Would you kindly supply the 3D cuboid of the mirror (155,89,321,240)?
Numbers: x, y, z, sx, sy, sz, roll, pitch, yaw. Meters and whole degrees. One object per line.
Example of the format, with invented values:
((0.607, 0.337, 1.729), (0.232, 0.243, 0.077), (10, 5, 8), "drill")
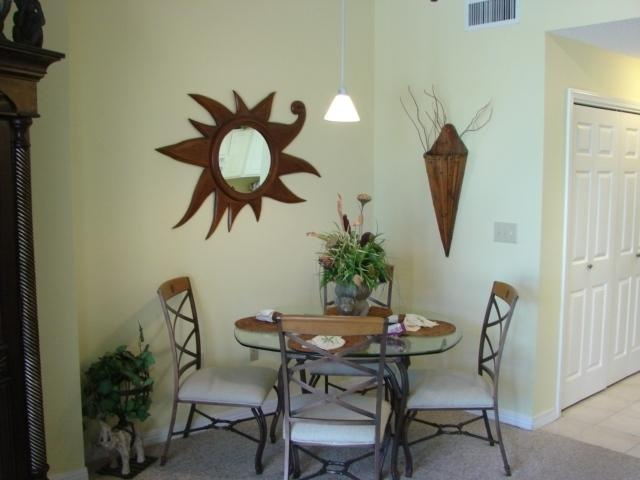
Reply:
((-0.634, -0.546, 3.789), (0.954, 0.848, 0.047), (-12, 10, -42), "mirror")

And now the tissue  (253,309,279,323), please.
((-0.339, 0.487, 3.376), (0.130, 0.061, 0.138), (3, 7, 27), "tissue ")

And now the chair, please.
((0.398, 0.865, 3.445), (2.053, 1.140, 1.028), (-3, 12, -16), "chair")

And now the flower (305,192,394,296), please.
((0.303, -0.009, 3.490), (0.556, 0.740, 0.645), (4, 7, 39), "flower")
